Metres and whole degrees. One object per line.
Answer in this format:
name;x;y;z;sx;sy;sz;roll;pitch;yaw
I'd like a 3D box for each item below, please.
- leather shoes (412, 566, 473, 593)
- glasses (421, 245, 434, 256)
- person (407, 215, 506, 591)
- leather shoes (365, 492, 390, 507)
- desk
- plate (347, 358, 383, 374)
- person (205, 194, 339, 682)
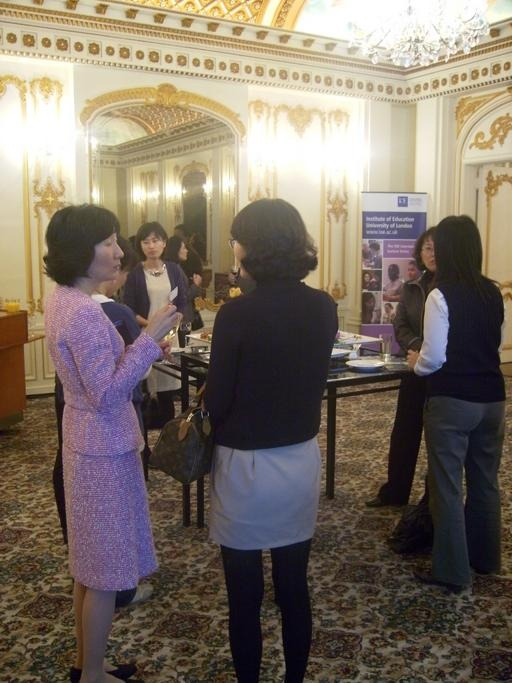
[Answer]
leather shoes;0.821;1.054;2.366;0.076;0.092;0.220;-1;6;-32
glasses;0.912;-0.481;2.835;0.062;0.091;0.090;3;7;7
person;0.872;0.291;2.244;0.385;1.616;0.342;6;12;28
leather shoes;0.752;0.972;3.257;0.168;0.074;0.063;1;-3;-4
desk;0.247;0.428;3.061;1.133;0.784;1.214;-1;2;-24
plate;0.613;0.122;2.990;0.208;0.043;0.342;1;11;6
person;0.048;0.336;1.324;0.345;1.343;0.238;-2;11;-10
